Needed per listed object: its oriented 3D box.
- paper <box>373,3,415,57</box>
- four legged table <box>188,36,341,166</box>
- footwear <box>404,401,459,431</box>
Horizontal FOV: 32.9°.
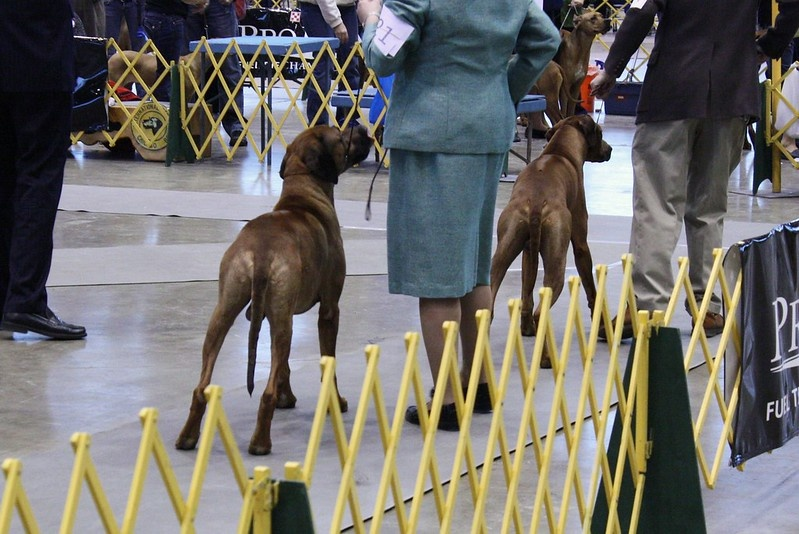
[{"bbox_3d":[-0.022,-1.244,7.173,0.244,0.244,0.028,-17,-10,-11],"label":"paper"},{"bbox_3d":[-1.332,-1.898,15.526,1.507,1.242,1.657,2,17,14],"label":"four legged table"},{"bbox_3d":[0.194,0.832,7.526,0.382,0.169,0.145,8,7,39],"label":"footwear"}]
